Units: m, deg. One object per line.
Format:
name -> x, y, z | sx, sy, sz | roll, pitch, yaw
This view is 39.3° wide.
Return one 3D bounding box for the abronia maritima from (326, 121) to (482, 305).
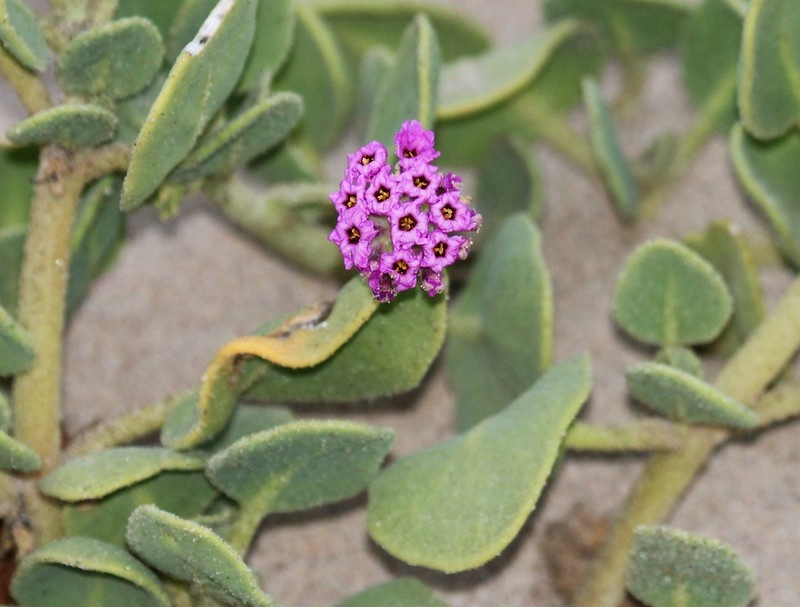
abronia maritima -> -0.001, -0.118, 1.507 | 0.205, 0.116, 0.200 | 39, 74, 12
